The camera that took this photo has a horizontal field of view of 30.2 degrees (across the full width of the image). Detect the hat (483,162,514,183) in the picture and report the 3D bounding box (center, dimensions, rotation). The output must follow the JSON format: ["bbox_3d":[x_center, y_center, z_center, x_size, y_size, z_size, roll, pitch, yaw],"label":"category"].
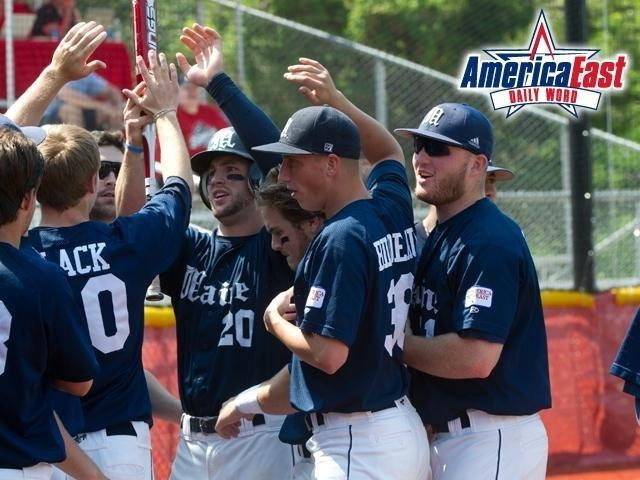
[{"bbox_3d":[1.379,-0.568,9.406,0.268,0.173,0.185,4,3,18],"label":"hat"}]

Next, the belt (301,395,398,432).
[{"bbox_3d":[0.106,1.213,8.212,0.385,0.165,0.316,-14,-2,0],"label":"belt"}]

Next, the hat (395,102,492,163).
[{"bbox_3d":[0.958,-0.842,8.652,0.497,0.343,0.394,11,5,-15],"label":"hat"}]

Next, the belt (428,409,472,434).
[{"bbox_3d":[0.930,1.318,8.533,0.293,0.200,0.039,4,4,28],"label":"belt"}]

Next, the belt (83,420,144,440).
[{"bbox_3d":[-1.436,1.358,8.457,0.231,0.071,0.188,-6,-4,0],"label":"belt"}]
